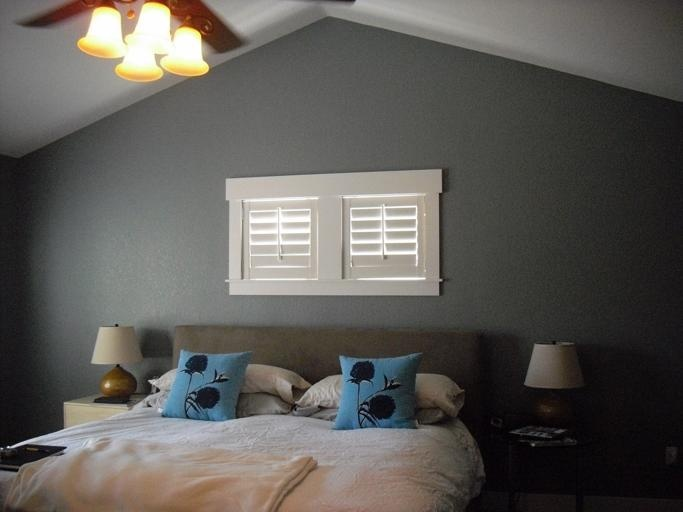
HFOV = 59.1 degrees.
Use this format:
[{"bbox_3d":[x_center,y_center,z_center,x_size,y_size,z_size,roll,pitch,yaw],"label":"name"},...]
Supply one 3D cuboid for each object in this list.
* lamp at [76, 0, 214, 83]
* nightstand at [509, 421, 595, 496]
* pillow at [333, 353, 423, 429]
[{"bbox_3d":[-1.056,-1.174,3.276,0.383,0.405,0.598,10,12,34],"label":"lamp"},{"bbox_3d":[1.374,1.289,4.074,0.555,0.523,0.562,-2,-9,13],"label":"nightstand"},{"bbox_3d":[0.236,0.860,3.777,0.407,0.368,0.153,-5,-37,11],"label":"pillow"}]
